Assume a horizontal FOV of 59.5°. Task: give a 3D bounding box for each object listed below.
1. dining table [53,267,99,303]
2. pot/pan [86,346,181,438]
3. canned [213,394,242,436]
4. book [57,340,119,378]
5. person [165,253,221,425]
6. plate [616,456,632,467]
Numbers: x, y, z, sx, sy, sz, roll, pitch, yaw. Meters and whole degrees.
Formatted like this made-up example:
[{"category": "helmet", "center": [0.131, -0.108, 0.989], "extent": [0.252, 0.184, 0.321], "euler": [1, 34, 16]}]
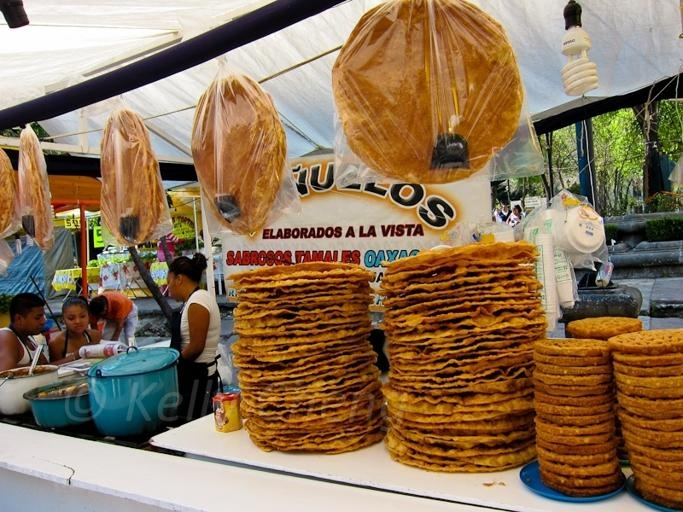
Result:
[{"category": "dining table", "center": [-6.555, 0.680, 14.567], "extent": [0.879, 0.708, 1.107], "euler": [2, -4, -23]}, {"category": "pot/pan", "center": [-1.131, 0.789, 3.341], "extent": [0.482, 0.419, 0.224], "euler": [-10, 10, -20]}, {"category": "canned", "center": [-0.582, 0.807, 3.063], "extent": [0.186, 0.195, 0.181], "euler": [-1, 2, -23]}, {"category": "book", "center": [-1.971, 0.800, 4.606], "extent": [0.384, 0.309, 0.483], "euler": [6, 6, 38]}, {"category": "person", "center": [-1.176, 0.589, 4.704], "extent": [0.458, 1.374, 0.467], "euler": [-1, 0, -40]}, {"category": "plate", "center": [1.177, 0.866, 2.496], "extent": [0.071, 0.021, 0.069], "euler": [1, -3, -39]}]
